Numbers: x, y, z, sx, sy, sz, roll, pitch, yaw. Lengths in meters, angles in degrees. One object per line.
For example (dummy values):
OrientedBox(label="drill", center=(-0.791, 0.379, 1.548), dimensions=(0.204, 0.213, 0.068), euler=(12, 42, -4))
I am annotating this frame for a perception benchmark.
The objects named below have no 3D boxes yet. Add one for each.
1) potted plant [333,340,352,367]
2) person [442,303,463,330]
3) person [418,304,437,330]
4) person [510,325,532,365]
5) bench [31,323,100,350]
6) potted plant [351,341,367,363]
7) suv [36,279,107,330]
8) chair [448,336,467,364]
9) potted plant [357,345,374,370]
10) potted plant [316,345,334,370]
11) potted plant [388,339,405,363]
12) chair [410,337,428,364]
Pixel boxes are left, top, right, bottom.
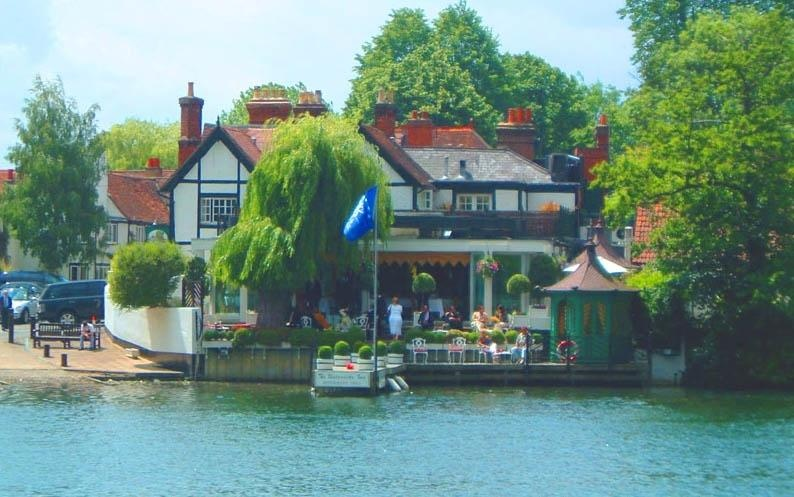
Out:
OrientedBox(label="potted plant", center=(-3.246, 5.776, 99.418), dimensions=(1.160, 1.787, 1.133), euler=(1, -4, -7))
OrientedBox(label="person", center=(3.194, 3.957, 104.728), dimensions=(0.987, 1.466, 2.077), euler=(-1, -6, -1))
OrientedBox(label="person", center=(1.663, 3.971, 104.688), dimensions=(0.888, 1.569, 2.660), euler=(-2, -7, 9))
OrientedBox(label="person", center=(6.910, 5.366, 100.317), dimensions=(1.098, 2.105, 1.162), euler=(-5, 11, -29))
OrientedBox(label="bench", center=(-19.381, 5.067, 105.267), dimensions=(3.980, 1.660, 2.377), euler=(0, -7, -10))
OrientedBox(label="potted plant", center=(-2.108, 5.685, 98.742), dimensions=(0.914, 1.167, 0.995), euler=(1, -1, -17))
OrientedBox(label="suv", center=(-20.198, 3.444, 111.116), dimensions=(3.763, 1.811, 2.364), euler=(-4, 2, -6))
OrientedBox(label="chair", center=(3.318, 5.622, 100.876), dimensions=(1.059, 1.477, 0.895), euler=(-1, -6, 7))
OrientedBox(label="potted plant", center=(-1.913, 5.943, 98.375), dimensions=(1.002, 1.484, 1.075), euler=(-2, -2, 22))
OrientedBox(label="potted plant", center=(-4.156, 5.957, 98.592), dimensions=(1.003, 1.501, 1.124), euler=(0, -1, 12))
OrientedBox(label="potted plant", center=(-0.100, 5.730, 100.770), dimensions=(0.960, 1.382, 1.125), euler=(0, 0, 0))
OrientedBox(label="chair", center=(1.160, 5.668, 101.347), dimensions=(1.050, 1.971, 1.164), euler=(0, -1, -8))
